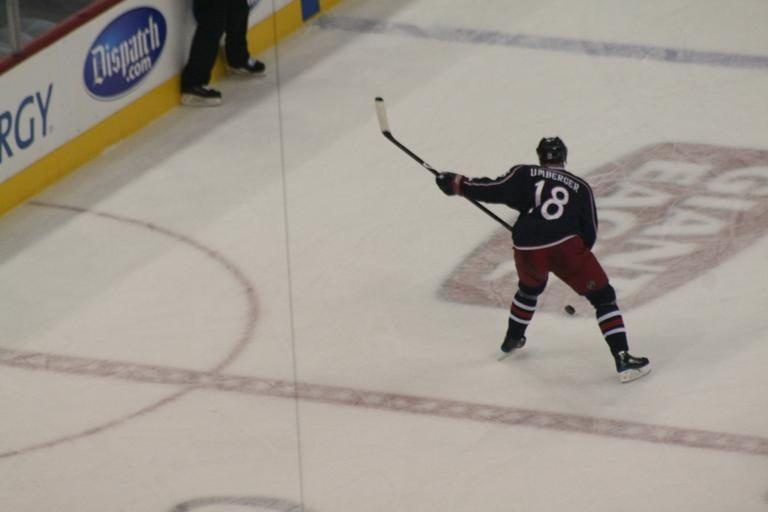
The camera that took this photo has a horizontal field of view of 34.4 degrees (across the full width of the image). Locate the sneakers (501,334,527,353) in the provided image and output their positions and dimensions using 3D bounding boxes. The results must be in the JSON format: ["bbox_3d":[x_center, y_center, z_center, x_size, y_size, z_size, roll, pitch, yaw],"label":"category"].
[{"bbox_3d":[0.819,0.549,7.836,0.142,0.093,0.105,1,7,-3],"label":"sneakers"}]

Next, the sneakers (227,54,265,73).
[{"bbox_3d":[-1.103,-1.568,10.202,0.328,0.123,0.120,-1,20,6],"label":"sneakers"}]

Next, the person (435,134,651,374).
[{"bbox_3d":[1.059,-0.031,8.031,1.732,1.370,0.791,7,4,41],"label":"person"}]

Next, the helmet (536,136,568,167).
[{"bbox_3d":[1.066,-0.670,7.872,0.178,0.179,0.201,1,32,8],"label":"helmet"}]

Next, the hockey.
[{"bbox_3d":[0.439,-0.639,9.069,1.508,0.163,0.427,30,36,-6],"label":"hockey"}]
